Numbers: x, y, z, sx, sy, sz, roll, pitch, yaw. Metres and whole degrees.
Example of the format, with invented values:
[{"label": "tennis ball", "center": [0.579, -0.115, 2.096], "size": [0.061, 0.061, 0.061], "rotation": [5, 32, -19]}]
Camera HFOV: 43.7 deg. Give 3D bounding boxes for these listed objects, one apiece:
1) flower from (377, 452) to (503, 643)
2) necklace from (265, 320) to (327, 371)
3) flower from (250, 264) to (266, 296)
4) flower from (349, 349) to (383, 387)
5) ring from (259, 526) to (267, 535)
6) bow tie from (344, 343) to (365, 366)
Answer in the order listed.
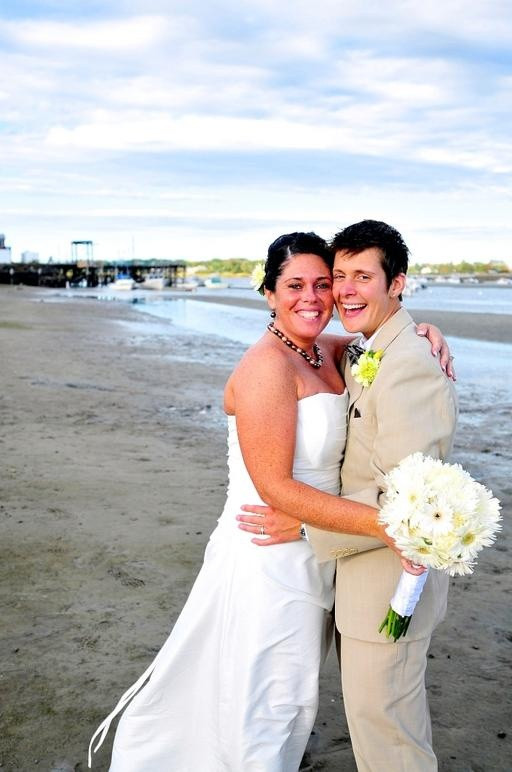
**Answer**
[{"label": "flower", "center": [0.541, 0.566, 2.001], "size": [0.353, 0.715, 0.424], "rotation": [8, 11, 12]}, {"label": "necklace", "center": [0.138, -0.165, 2.619], "size": [0.194, 0.041, 0.232], "rotation": [2, 45, -54]}, {"label": "flower", "center": [0.009, -0.488, 2.937], "size": [0.069, 0.135, 0.139], "rotation": [6, -40, -6]}, {"label": "flower", "center": [0.395, -0.062, 2.294], "size": [0.062, 0.124, 0.129], "rotation": [23, -21, 25]}, {"label": "ring", "center": [0.023, 0.551, 2.412], "size": [0.029, 0.035, 0.015], "rotation": [9, 5, 22]}, {"label": "bow tie", "center": [0.400, -0.122, 2.556], "size": [0.028, 0.087, 0.081], "rotation": [15, 14, -26]}]
